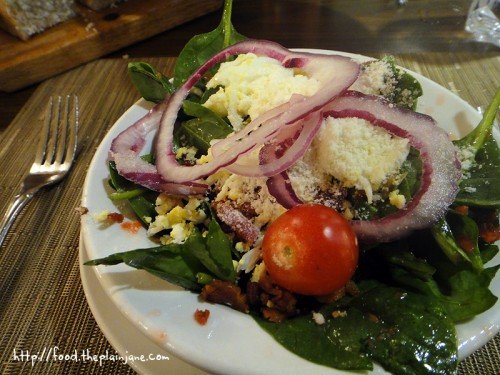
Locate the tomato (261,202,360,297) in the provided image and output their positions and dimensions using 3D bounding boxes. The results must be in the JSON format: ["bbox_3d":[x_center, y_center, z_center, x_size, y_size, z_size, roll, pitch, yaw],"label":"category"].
[{"bbox_3d":[0.256,0.264,2.201,0.476,0.433,0.361,3,93,48],"label":"tomato"}]
